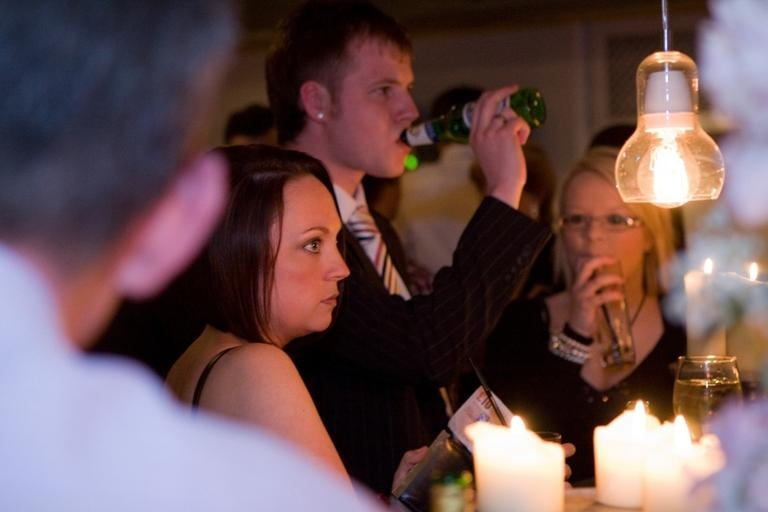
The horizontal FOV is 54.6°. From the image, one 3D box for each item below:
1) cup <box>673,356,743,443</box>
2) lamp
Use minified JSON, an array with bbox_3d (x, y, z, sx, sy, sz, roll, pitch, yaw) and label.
[{"bbox_3d":[0.664,0.293,1.555,0.168,0.219,0.166,-1,-8,0],"label":"cup"},{"bbox_3d":[0.579,-0.319,1.531,0.200,0.429,0.182,-1,6,21],"label":"lamp"}]
